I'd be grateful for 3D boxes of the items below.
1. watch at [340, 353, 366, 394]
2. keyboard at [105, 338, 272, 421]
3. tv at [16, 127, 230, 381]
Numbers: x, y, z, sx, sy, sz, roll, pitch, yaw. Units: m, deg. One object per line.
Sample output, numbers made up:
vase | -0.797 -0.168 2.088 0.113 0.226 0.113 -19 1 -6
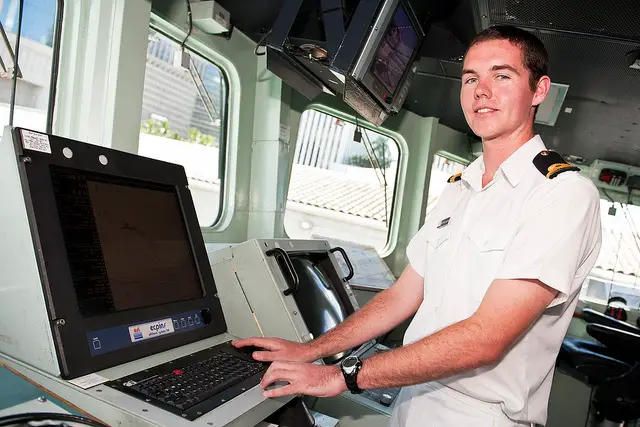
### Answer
watch | 0.104 0.526 1.213 0.073 0.114 0.065 -2 7 -7
keyboard | -0.379 0.516 1.188 0.294 0.099 0.423 3 7 26
tv | -0.638 0.108 1.281 0.263 0.767 0.567 5 9 38
